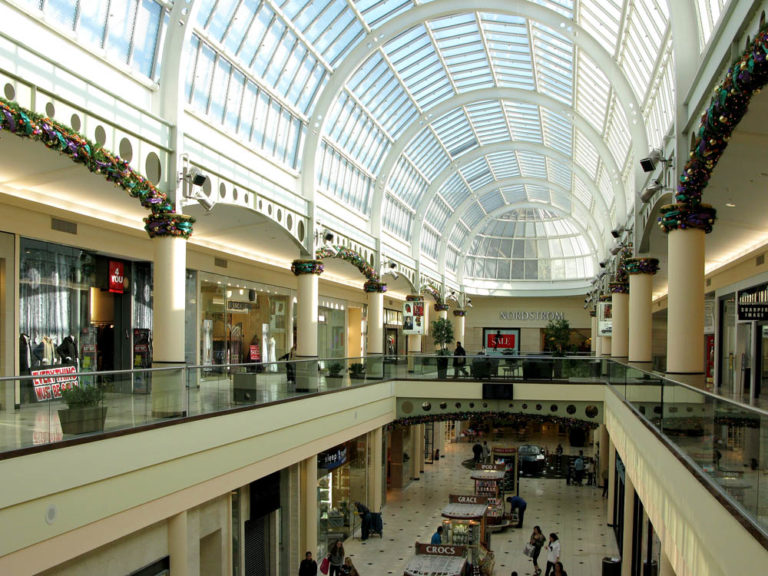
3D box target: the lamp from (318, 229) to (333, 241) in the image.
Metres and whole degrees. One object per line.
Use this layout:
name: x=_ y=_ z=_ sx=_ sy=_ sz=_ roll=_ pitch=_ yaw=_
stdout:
lamp: x=-2.377 y=-2.222 z=25.648 sx=0.373 sy=0.532 sz=0.190 roll=-3 pitch=10 yaw=-37

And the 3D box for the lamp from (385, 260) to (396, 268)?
lamp: x=0.391 y=-1.360 z=34.410 sx=0.450 sy=0.396 sz=0.664 roll=-1 pitch=-2 yaw=35

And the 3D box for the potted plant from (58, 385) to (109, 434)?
potted plant: x=-5.832 y=2.281 z=11.930 sx=0.626 sy=0.973 sz=0.918 roll=4 pitch=2 yaw=35

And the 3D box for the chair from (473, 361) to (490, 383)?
chair: x=4.409 y=3.771 z=28.166 sx=0.745 sy=0.856 sz=0.805 roll=0 pitch=-2 yaw=8

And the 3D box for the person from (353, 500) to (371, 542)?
person: x=-0.855 y=10.043 z=26.628 sx=0.548 sy=1.302 sz=1.054 roll=5 pitch=-2 yaw=-11

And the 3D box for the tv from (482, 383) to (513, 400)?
tv: x=5.127 y=4.953 z=28.028 sx=1.247 sy=0.892 sz=0.724 roll=2 pitch=5 yaw=12

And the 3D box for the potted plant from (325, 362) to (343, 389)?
potted plant: x=-1.751 y=3.084 z=22.036 sx=0.680 sy=0.867 sz=1.154 roll=-1 pitch=-2 yaw=11

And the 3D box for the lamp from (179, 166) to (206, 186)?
lamp: x=-5.249 y=-3.116 z=17.072 sx=0.529 sy=0.232 sz=0.548 roll=10 pitch=16 yaw=-26

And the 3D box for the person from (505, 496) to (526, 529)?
person: x=6.137 y=10.459 z=29.567 sx=1.132 sy=1.825 sz=0.725 roll=-3 pitch=-9 yaw=18
